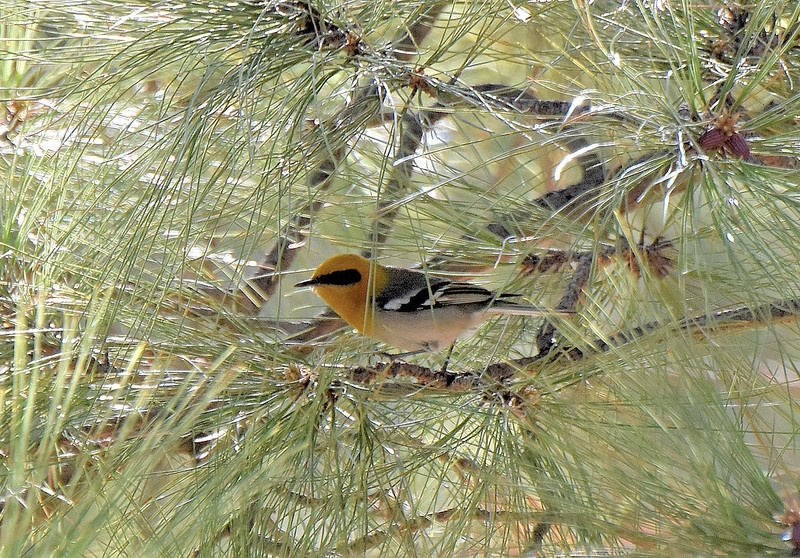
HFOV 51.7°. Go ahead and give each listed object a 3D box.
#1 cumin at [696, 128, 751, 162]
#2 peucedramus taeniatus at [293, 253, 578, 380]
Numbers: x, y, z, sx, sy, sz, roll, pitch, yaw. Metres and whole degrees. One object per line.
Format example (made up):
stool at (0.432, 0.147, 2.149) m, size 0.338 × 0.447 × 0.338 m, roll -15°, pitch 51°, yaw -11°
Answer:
cumin at (0.948, -0.394, 2.420) m, size 0.159 × 0.079 × 0.073 m, roll 12°, pitch 77°, yaw 6°
peucedramus taeniatus at (0.004, 0.093, 3.296) m, size 1.147 × 0.497 × 0.722 m, roll -3°, pitch 104°, yaw -23°
